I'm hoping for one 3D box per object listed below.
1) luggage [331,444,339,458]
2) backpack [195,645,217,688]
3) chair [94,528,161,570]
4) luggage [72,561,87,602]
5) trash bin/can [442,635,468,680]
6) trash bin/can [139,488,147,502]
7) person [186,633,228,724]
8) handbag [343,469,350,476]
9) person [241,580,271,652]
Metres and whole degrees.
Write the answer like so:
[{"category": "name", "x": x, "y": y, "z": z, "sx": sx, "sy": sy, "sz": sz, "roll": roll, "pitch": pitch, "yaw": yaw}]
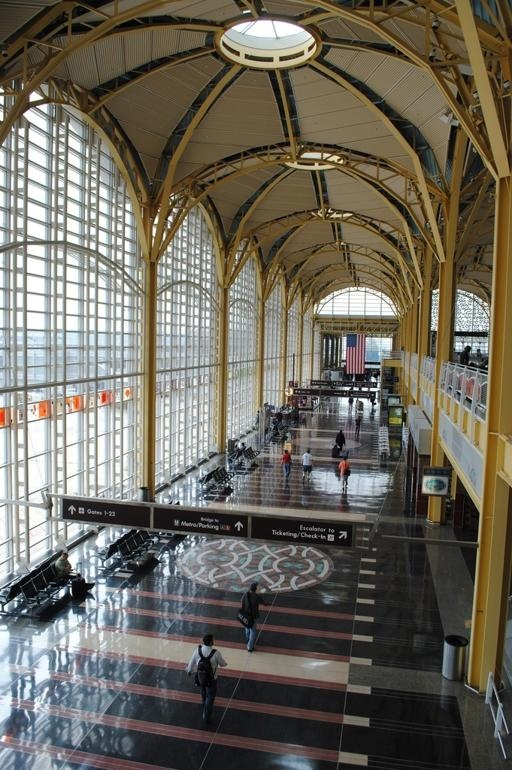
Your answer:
[{"category": "luggage", "x": 4.857, "y": 4.027, "z": 33.060, "sx": 0.540, "sy": 1.102, "sz": 0.572, "roll": -1, "pitch": -9, "yaw": 11}, {"category": "backpack", "x": -0.707, "y": 4.005, "z": 7.763, "sx": 0.258, "sy": 0.457, "sz": 0.193, "roll": 1, "pitch": -1, "yaw": -5}, {"category": "chair", "x": -3.547, "y": 4.675, "z": 15.802, "sx": 1.476, "sy": 0.875, "sz": 2.327, "roll": 2, "pitch": -1, "yaw": 3}, {"category": "luggage", "x": -4.185, "y": 4.784, "z": 13.242, "sx": 0.386, "sy": 0.796, "sz": 0.434, "roll": -1, "pitch": 1, "yaw": 16}, {"category": "trash bin/can", "x": 3.557, "y": 4.822, "z": 9.710, "sx": 0.453, "sy": 0.682, "sz": 0.348, "roll": 1, "pitch": -1, "yaw": 8}, {"category": "trash bin/can", "x": -4.332, "y": 4.202, "z": 21.167, "sx": 0.296, "sy": 0.429, "sz": 0.780, "roll": 2, "pitch": -1, "yaw": -12}, {"category": "person", "x": -0.705, "y": 4.209, "z": 7.945, "sx": 0.533, "sy": 1.256, "sz": 0.502, "roll": 3, "pitch": 6, "yaw": 14}, {"category": "handbag", "x": 4.075, "y": 3.891, "z": 24.427, "sx": 0.153, "sy": 0.393, "sz": 1.017, "roll": 1, "pitch": -1, "yaw": 16}, {"category": "person", "x": -0.038, "y": 4.192, "z": 10.049, "sx": 0.565, "sy": 1.260, "sz": 0.463, "roll": 0, "pitch": 7, "yaw": -38}]
